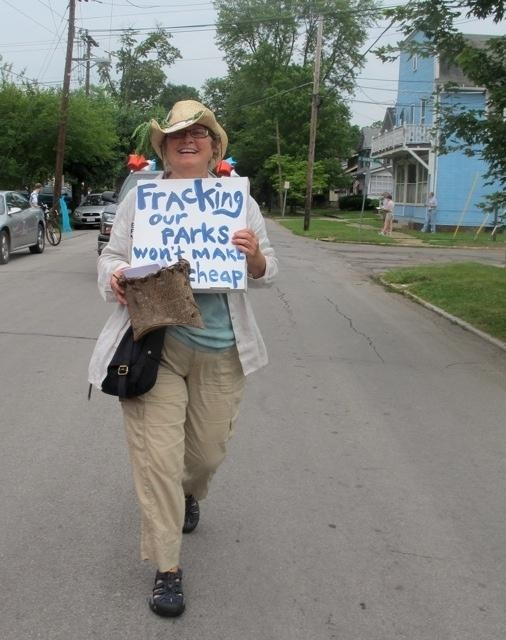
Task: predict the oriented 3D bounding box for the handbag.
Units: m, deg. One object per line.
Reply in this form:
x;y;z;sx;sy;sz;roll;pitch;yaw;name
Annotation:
-0.446;0.163;1.839;0.175;0.285;0.111;0;-16;31;handbag

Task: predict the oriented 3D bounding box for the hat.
-0.262;-0.735;2.217;0.237;0.313;0.144;-2;51;3;hat

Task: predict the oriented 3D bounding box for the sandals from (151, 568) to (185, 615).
-0.307;0.971;1.861;0.071;0.080;0.169;2;-7;-6;sandals

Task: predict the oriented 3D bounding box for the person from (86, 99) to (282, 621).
-0.291;0.066;2.115;0.572;1.988;0.726;5;4;33;person
